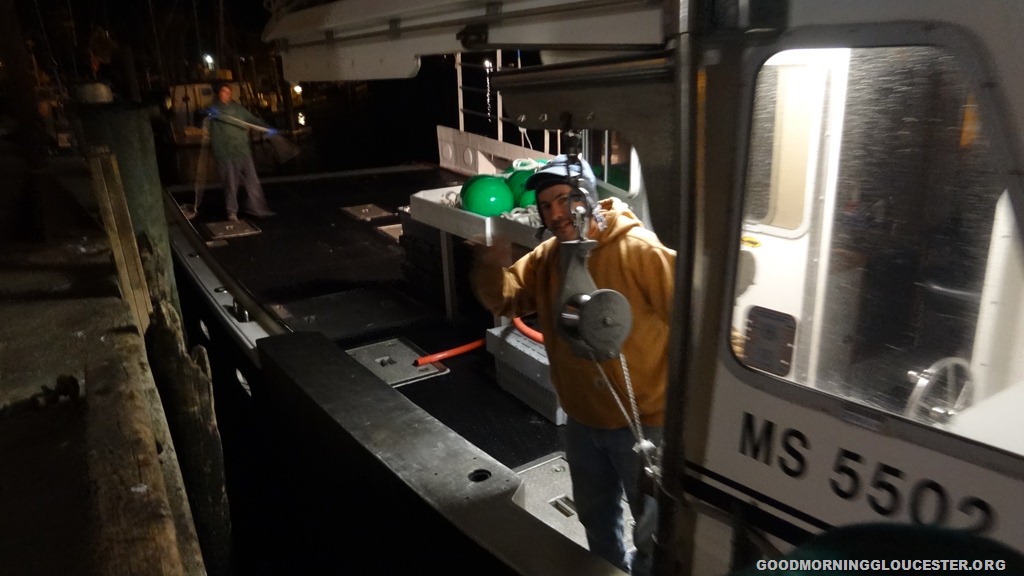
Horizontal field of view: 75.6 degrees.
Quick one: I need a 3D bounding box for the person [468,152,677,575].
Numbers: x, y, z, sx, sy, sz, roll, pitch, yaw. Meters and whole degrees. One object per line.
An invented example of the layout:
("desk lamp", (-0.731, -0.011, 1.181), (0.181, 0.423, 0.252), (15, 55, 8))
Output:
("person", (0.472, 0.543, 3.964), (0.954, 2.840, 1.344), (-9, 21, -12))
